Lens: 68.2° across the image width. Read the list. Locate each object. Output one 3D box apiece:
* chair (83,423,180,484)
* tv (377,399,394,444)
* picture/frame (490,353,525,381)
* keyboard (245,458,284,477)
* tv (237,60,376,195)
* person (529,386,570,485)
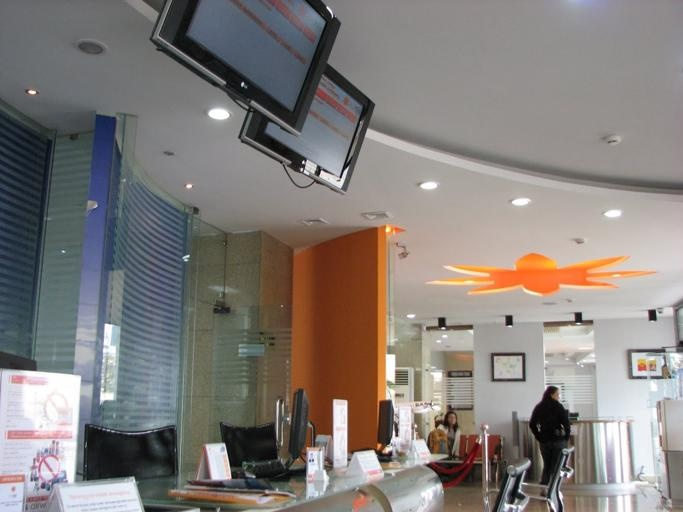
[{"bbox_3d":[-1.152,1.093,2.836,0.599,0.308,0.338,11,-18,-38],"label":"chair"},{"bbox_3d":[0.395,1.488,4.527,0.141,0.375,0.309,-2,-14,5],"label":"tv"},{"bbox_3d":[4.545,3.020,13.700,0.735,0.682,0.052,0,-19,10],"label":"picture/frame"},{"bbox_3d":[-0.411,1.135,2.674,0.224,0.064,0.592,1,-15,-6],"label":"keyboard"},{"bbox_3d":[-0.216,-0.877,3.370,0.250,0.705,0.790,9,-10,31],"label":"tv"},{"bbox_3d":[3.392,2.874,8.165,0.522,1.489,0.950,2,-14,-9],"label":"person"}]
